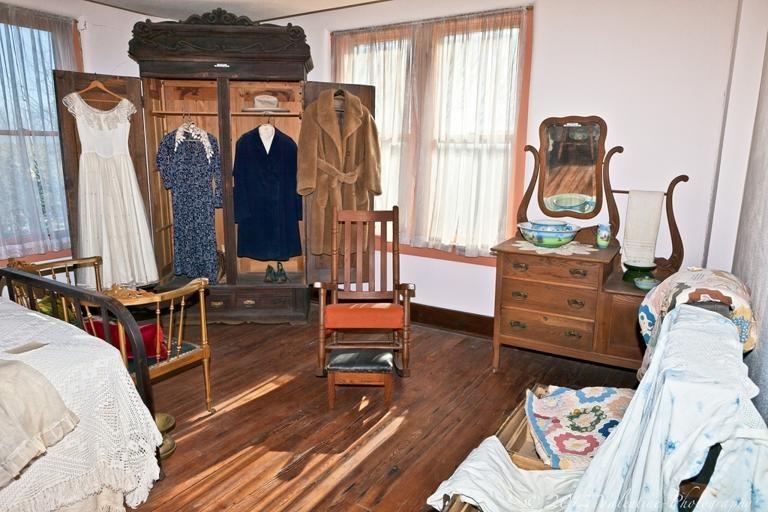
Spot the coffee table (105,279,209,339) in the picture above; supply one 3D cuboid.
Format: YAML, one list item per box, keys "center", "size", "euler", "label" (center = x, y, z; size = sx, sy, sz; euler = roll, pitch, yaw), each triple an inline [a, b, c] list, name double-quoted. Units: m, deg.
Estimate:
- center: [-1.584, 0.370, 3.710]
  size: [0.396, 0.553, 0.380]
  euler: [2, 34, -12]
  label: "coffee table"

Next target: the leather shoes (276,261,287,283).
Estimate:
- center: [-0.945, 0.145, 4.933]
  size: [0.082, 0.213, 0.085]
  euler: [-10, -22, -20]
  label: "leather shoes"

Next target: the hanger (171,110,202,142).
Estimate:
- center: [-1.726, -1.131, 4.641]
  size: [0.229, 0.296, 0.071]
  euler: [0, -1, -4]
  label: "hanger"

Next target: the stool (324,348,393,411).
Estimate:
- center: [-0.160, 0.784, 3.547]
  size: [0.359, 0.263, 0.436]
  euler: [2, 11, 2]
  label: "stool"

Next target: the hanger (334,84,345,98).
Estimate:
- center: [-0.379, -1.427, 4.547]
  size: [0.079, 0.113, 0.086]
  euler: [-2, 12, -5]
  label: "hanger"

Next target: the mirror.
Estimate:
- center: [1.497, -0.589, 4.130]
  size: [1.053, 1.231, 0.061]
  euler: [5, 10, 23]
  label: "mirror"

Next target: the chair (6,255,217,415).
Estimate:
- center: [-1.644, 0.469, 3.172]
  size: [0.954, 0.724, 0.581]
  euler: [10, 16, 31]
  label: "chair"

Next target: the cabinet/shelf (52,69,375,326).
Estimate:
- center: [-1.447, -0.521, 4.420]
  size: [2.421, 2.118, 0.768]
  euler: [0, 10, -4]
  label: "cabinet/shelf"

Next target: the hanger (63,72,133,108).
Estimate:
- center: [-2.282, -1.316, 4.204]
  size: [0.377, 0.213, 0.028]
  euler: [-3, 4, -38]
  label: "hanger"

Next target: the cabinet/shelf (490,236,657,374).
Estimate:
- center: [1.356, 0.317, 3.710]
  size: [1.059, 0.732, 0.405]
  euler: [3, 9, 23]
  label: "cabinet/shelf"

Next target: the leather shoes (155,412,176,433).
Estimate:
- center: [-1.342, 1.025, 3.266]
  size: [0.127, 0.053, 0.123]
  euler: [3, 2, 10]
  label: "leather shoes"

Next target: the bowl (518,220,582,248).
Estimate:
- center: [1.256, -0.168, 3.887]
  size: [0.283, 0.094, 0.264]
  euler: [1, 11, 0]
  label: "bowl"

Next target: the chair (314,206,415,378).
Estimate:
- center: [-0.140, 0.211, 4.314]
  size: [0.767, 1.268, 1.464]
  euler: [-1, 12, -1]
  label: "chair"
